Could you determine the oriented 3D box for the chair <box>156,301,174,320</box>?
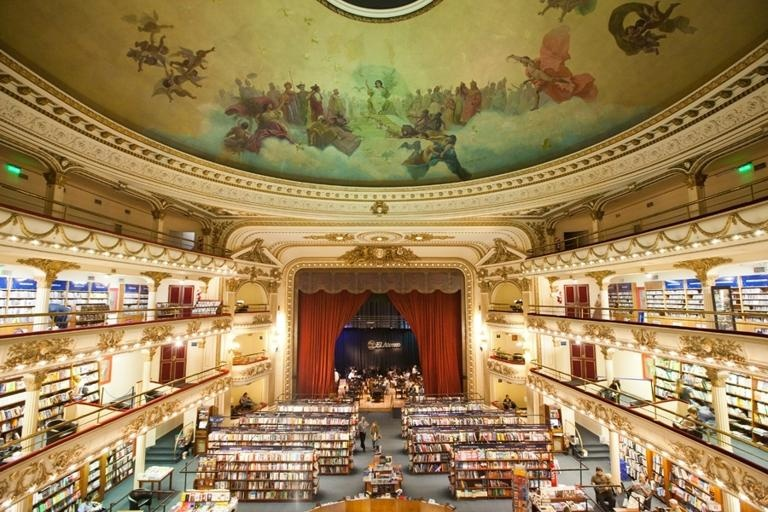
[{"bbox_3d":[-9.338,2.380,19.450,1.077,0.642,0.706,-5,-7,10],"label":"chair"}]
